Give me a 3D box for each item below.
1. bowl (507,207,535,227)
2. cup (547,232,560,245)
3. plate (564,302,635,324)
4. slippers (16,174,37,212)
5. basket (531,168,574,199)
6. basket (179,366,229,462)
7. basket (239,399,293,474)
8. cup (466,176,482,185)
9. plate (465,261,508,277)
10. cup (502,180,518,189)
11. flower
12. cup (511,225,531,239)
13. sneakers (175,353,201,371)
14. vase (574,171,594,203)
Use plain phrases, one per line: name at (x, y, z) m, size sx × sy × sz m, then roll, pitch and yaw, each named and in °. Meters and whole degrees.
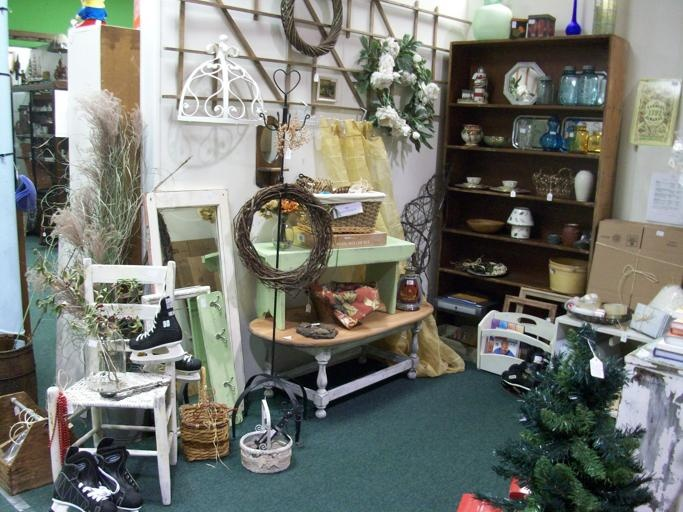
bowl at (1.756, -0.377, 4.860) m, size 0.276 × 0.180 × 0.208 m, roll 0°, pitch 14°, yaw 3°
cup at (1.989, -0.157, 4.698) m, size 0.097 × 0.084 × 0.124 m, roll 2°, pitch 10°, yaw 5°
plate at (2.028, 0.455, 3.926) m, size 0.272 × 0.064 × 0.268 m, roll 2°, pitch 3°, yaw -30°
slippers at (-2.352, -0.465, 3.739) m, size 0.203 × 0.258 × 0.086 m, roll 4°, pitch 3°, yaw -16°
basket at (1.976, -0.667, 4.679) m, size 0.360 × 0.226 × 0.311 m, roll 3°, pitch 8°, yaw 21°
basket at (-0.908, 1.033, 3.283) m, size 0.319 × 0.604 × 0.213 m, roll -5°, pitch 14°, yaw -19°
basket at (-0.503, 1.129, 3.263) m, size 0.353 × 0.474 × 0.297 m, roll -2°, pitch 14°, yaw -7°
cup at (1.339, -0.791, 5.114) m, size 0.115 × 0.062 × 0.114 m, roll 3°, pitch 14°, yaw -1°
plate at (1.445, 0.136, 5.026) m, size 0.226 × 0.067 × 0.227 m, roll 6°, pitch 12°, yaw 30°
cup at (1.664, -0.697, 4.889) m, size 0.110 × 0.056 × 0.109 m, roll -2°, pitch 7°, yaw 0°
flower at (0.575, -1.520, 4.724) m, size 0.430 × 1.031 × 1.002 m, roll 11°, pitch 18°, yaw 40°
cup at (1.724, -0.235, 4.831) m, size 0.142 × 0.135 × 0.144 m, roll 2°, pitch 5°, yaw 0°
sneakers at (-1.037, 0.691, 3.261) m, size 0.241 × 0.096 × 0.086 m, roll -3°, pitch 1°, yaw 38°
vase at (2.135, -0.614, 4.408) m, size 0.160 × 0.270 × 0.229 m, roll 6°, pitch 15°, yaw 23°
